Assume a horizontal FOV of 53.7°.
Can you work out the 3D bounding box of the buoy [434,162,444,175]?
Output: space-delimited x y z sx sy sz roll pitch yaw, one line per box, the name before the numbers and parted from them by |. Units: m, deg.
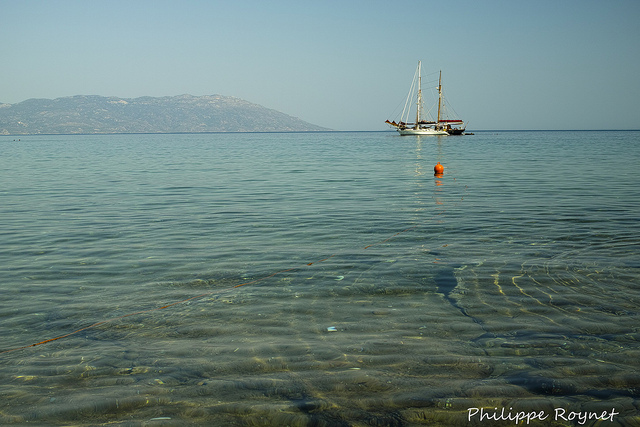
buoy | 6.447 -2.382 34.263 0.392 0.569 0.984 -1 8 8
